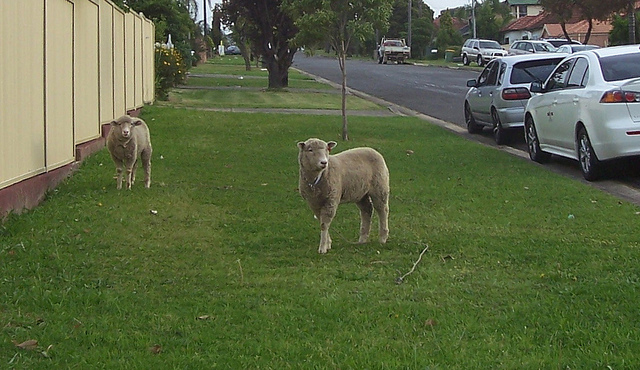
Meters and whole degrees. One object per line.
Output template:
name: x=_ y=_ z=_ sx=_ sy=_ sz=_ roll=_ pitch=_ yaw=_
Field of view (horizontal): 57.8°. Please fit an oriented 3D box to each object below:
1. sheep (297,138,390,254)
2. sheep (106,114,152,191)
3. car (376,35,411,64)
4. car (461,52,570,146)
sheep: x=0.393 y=0.209 z=11.075 sx=1.023 sy=2.103 sz=2.709 roll=0 pitch=0 yaw=39
sheep: x=-4.315 y=-0.755 z=13.357 sx=0.947 sy=1.739 sz=0.896 roll=-8 pitch=18 yaw=-32
car: x=8.792 y=-16.001 z=69.526 sx=3.162 sy=2.972 sz=3.845 roll=1 pitch=17 yaw=-1
car: x=6.409 y=-2.823 z=19.643 sx=2.464 sy=3.010 sz=5.972 roll=0 pitch=6 yaw=4
